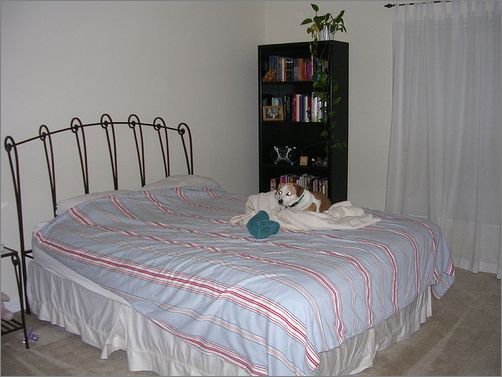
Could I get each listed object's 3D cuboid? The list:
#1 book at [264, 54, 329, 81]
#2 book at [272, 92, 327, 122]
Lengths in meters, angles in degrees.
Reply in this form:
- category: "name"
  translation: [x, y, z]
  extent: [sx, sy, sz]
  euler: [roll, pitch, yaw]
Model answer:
- category: "book"
  translation: [0.450, -1.420, 4.619]
  extent: [0.653, 0.314, 0.126]
  euler: [5, 13, 28]
- category: "book"
  translation: [0.556, -0.941, 4.602]
  extent: [0.193, 0.327, 0.726]
  euler: [-10, 14, -38]
